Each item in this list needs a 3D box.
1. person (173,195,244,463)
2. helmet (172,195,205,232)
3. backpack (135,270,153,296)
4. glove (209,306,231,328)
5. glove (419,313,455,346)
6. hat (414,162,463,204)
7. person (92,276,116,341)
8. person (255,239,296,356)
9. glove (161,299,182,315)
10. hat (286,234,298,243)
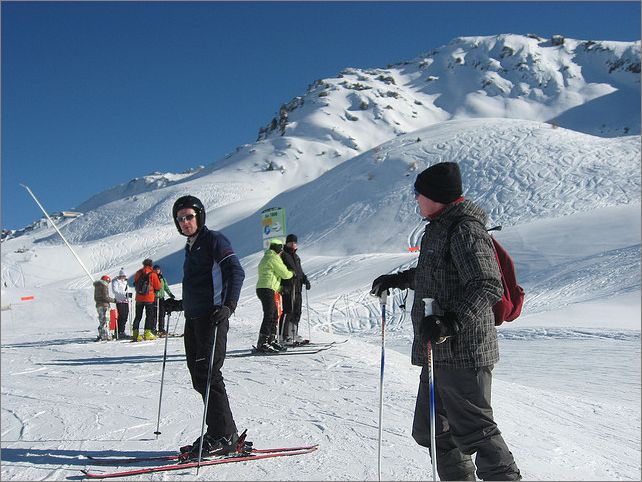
[{"bbox_3d":[-1.582,1.152,8.777,0.787,3.516,0.985,-3,8,-30],"label":"person"},{"bbox_3d":[-1.885,-0.392,8.964,0.528,0.435,0.462,-9,-7,-31],"label":"helmet"},{"bbox_3d":[-4.433,1.045,15.485,0.370,0.597,0.262,-1,7,-17],"label":"backpack"},{"bbox_3d":[-1.367,1.028,8.541,0.283,0.296,0.239,0,6,-8],"label":"glove"},{"bbox_3d":[1.418,1.050,7.455,0.437,0.374,0.133,1,7,4],"label":"glove"},{"bbox_3d":[1.512,-0.710,7.787,0.690,0.433,0.480,-2,11,30],"label":"hat"},{"bbox_3d":[-5.633,1.730,16.184,0.456,1.689,0.657,-2,7,-21],"label":"person"},{"bbox_3d":[-1.031,1.189,13.250,0.665,2.367,0.515,0,7,-6],"label":"person"},{"bbox_3d":[-2.217,0.983,9.306,0.251,0.102,0.314,4,6,24],"label":"glove"},{"bbox_3d":[-0.637,-0.041,13.782,0.200,0.162,0.251,5,-9,-36],"label":"hat"}]
